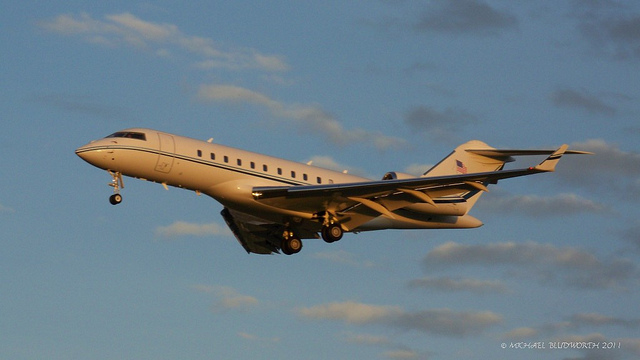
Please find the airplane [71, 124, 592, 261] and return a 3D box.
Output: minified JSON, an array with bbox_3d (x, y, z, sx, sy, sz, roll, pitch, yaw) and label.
[{"bbox_3d":[0.282,-0.491,59.301,22.747,4.814,18.774,8,1,-14],"label":"airplane"}]
